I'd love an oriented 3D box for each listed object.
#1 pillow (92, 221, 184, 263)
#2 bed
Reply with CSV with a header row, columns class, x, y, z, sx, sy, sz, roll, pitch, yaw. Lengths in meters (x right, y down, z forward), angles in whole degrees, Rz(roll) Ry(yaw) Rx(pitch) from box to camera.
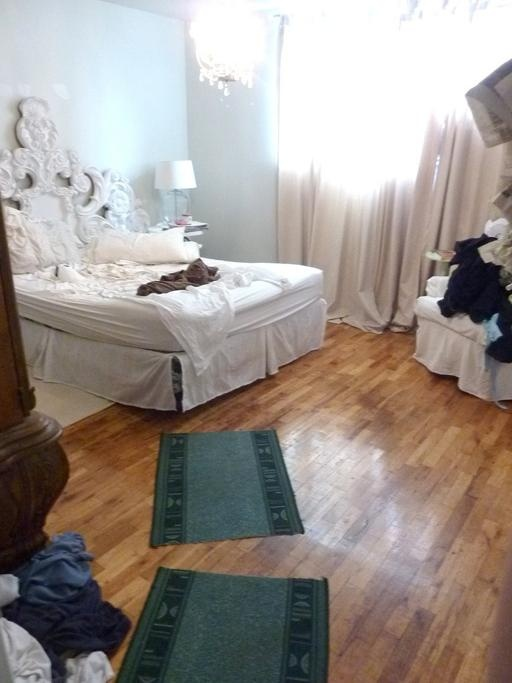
class,x,y,z,sx,sy,sz,roll,pitch,yaw
pillow,-0.917,-0.759,3.855,0.444,0.150,0.387,-2,28,-5
bed,-0.791,-0.714,3.269,2.032,1.798,1.534,10,23,25
